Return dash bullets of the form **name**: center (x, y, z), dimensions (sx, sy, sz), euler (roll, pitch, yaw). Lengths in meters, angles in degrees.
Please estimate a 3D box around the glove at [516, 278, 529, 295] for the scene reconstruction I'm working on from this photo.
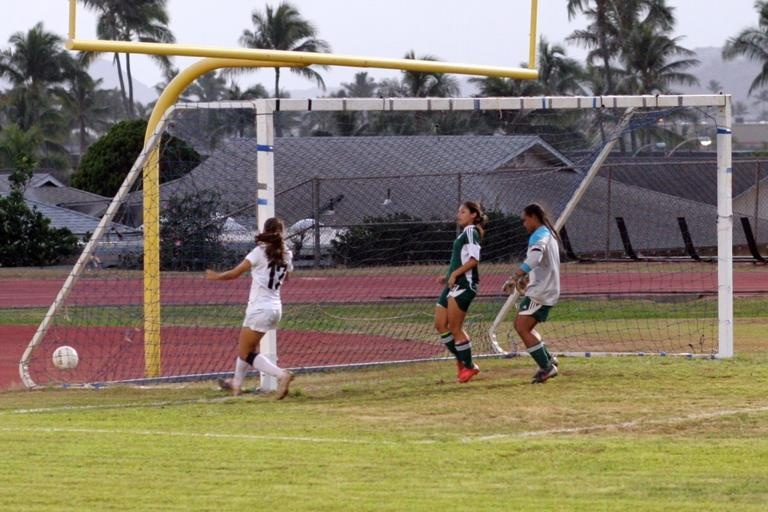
- **glove**: center (3.293, 0.759, 36.159), dimensions (0.151, 0.373, 0.292), euler (11, 13, -6)

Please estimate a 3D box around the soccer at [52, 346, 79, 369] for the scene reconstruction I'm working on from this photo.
- **soccer**: center (-7.951, 2.529, 37.146), dimensions (0.619, 0.530, 0.569), euler (4, -8, -14)

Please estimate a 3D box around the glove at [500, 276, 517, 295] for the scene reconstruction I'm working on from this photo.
- **glove**: center (2.982, 0.701, 35.895), dimensions (0.344, 0.417, 0.621), euler (-2, 2, 2)
